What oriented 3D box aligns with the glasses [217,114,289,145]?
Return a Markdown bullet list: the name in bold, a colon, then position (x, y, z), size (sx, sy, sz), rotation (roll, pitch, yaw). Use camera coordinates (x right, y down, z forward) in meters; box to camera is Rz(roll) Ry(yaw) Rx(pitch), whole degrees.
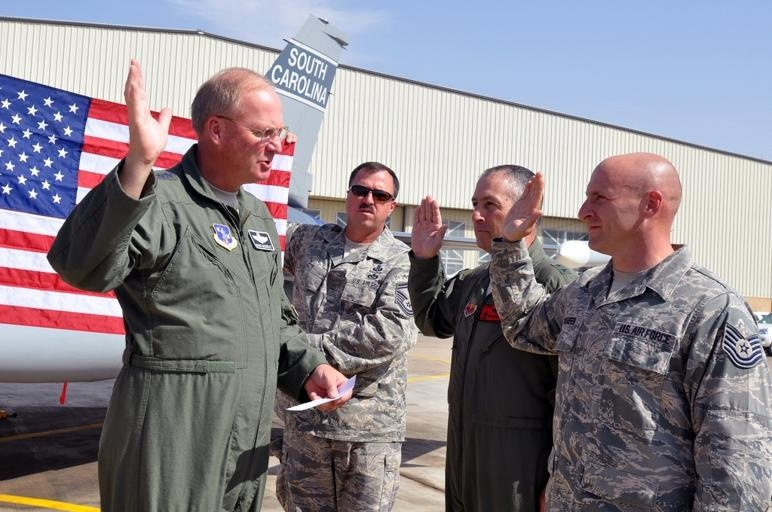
- **glasses**: position (-0.757, -0.761, 4.347), size (0.213, 0.060, 0.207), rotation (26, 8, 15)
